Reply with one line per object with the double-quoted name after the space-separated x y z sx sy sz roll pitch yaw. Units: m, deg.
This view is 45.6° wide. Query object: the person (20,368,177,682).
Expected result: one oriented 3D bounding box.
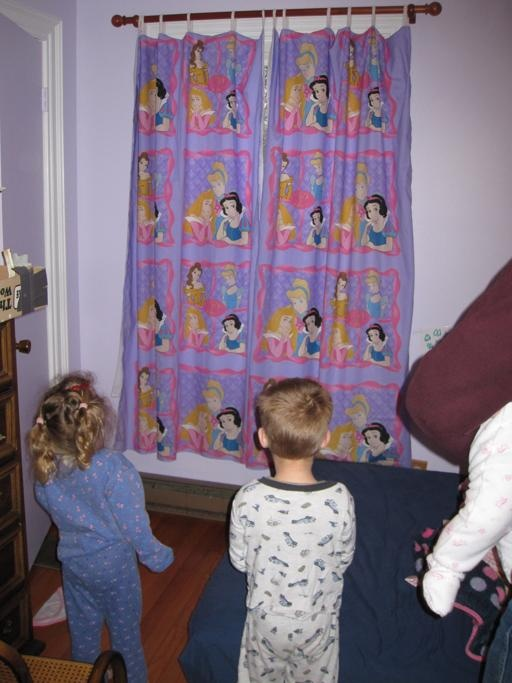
-0.468 0.609 1.824 0.398 0.991 0.212 7 16 25 "person"
